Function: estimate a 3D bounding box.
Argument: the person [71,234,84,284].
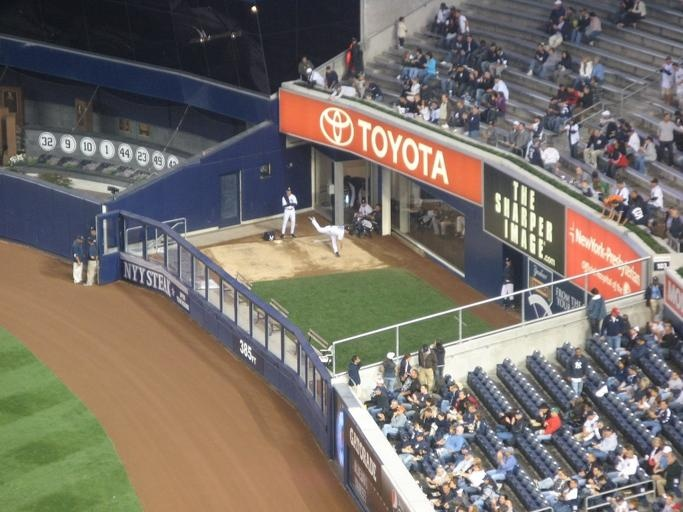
[{"bbox_3d":[-9.763,0.078,47.855,0.434,1.696,1.059,2,23,-13],"label":"person"}]

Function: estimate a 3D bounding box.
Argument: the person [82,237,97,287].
[{"bbox_3d":[-9.194,0.153,47.575,0.412,1.715,0.613,3,22,-11],"label":"person"}]

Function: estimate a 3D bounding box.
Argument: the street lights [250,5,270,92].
[{"bbox_3d":[-3.169,-8.364,51.953,0.490,3.574,0.296,-2,19,34],"label":"street lights"}]
